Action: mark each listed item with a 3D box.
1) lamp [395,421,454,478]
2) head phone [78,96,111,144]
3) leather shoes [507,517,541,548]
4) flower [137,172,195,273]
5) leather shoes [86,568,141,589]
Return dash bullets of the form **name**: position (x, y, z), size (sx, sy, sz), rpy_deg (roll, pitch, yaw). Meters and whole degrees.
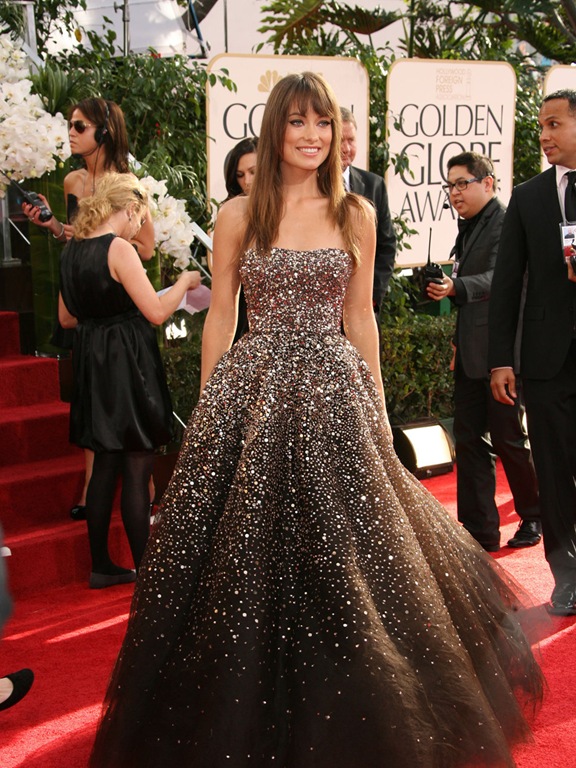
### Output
- **lamp**: position (1.146, 0.559, 4.703), size (0.430, 0.425, 0.264), rpy_deg (-5, -6, -23)
- **head phone**: position (-1.161, -1.571, 3.318), size (0.088, 0.223, 0.244), rpy_deg (-24, 10, -21)
- **leather shoes**: position (1.490, 0.957, 3.561), size (0.279, 0.218, 0.113), rpy_deg (3, -7, -17)
- **flower**: position (-0.770, -0.927, 3.243), size (0.349, 0.500, 0.363), rpy_deg (12, 11, 34)
- **leather shoes**: position (-0.960, 1.059, 3.075), size (0.301, 0.121, 0.113), rpy_deg (-3, -1, -21)
